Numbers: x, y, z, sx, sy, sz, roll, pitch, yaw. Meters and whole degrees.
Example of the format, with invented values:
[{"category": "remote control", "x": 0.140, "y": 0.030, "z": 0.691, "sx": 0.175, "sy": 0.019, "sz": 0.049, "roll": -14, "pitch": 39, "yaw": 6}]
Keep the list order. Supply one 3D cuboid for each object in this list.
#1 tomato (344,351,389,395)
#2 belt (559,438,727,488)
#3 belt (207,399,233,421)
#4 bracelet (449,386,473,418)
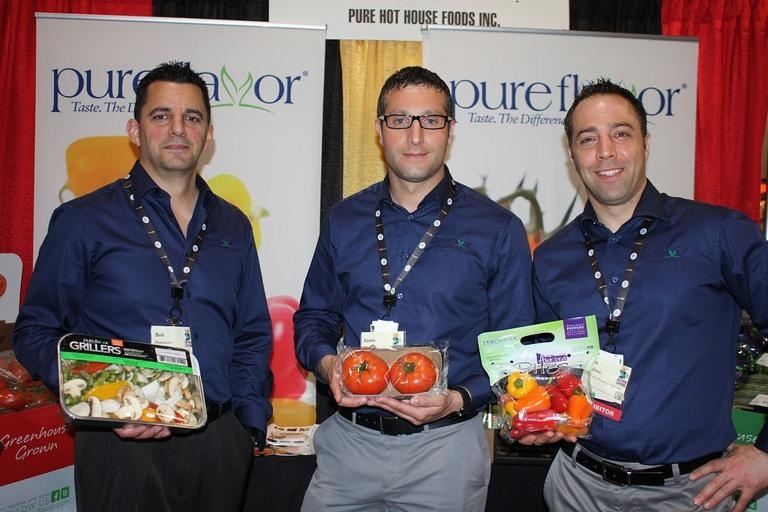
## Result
[{"category": "tomato", "x": -0.105, "y": 0.632, "z": 3.020, "sx": 0.254, "sy": 0.202, "sz": 0.138, "roll": -1, "pitch": 7, "yaw": 7}, {"category": "belt", "x": 1.414, "y": 1.161, "z": 3.106, "sx": 0.816, "sy": 0.187, "sz": 0.177, "roll": 1, "pitch": 8, "yaw": 19}, {"category": "belt", "x": -0.988, "y": 0.912, "z": 3.316, "sx": 0.137, "sy": 0.039, "sz": 0.135, "roll": 0, "pitch": 0, "yaw": -32}, {"category": "bracelet", "x": 0.427, "y": 0.816, "z": 3.134, "sx": 0.057, "sy": 0.165, "sz": 0.119, "roll": 1, "pitch": 8, "yaw": -21}]
